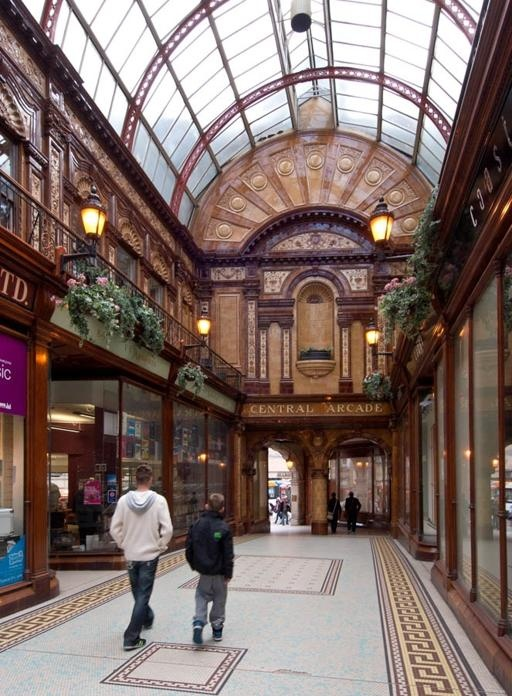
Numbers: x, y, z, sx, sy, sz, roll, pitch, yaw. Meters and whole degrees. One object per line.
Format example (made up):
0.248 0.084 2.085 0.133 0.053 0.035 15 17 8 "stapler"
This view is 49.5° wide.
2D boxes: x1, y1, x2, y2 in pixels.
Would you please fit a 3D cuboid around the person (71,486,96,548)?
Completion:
-3.204 3.137 10.371 0.489 1.080 0.172 3 -13 -11 "person"

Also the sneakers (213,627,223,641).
-0.347 2.553 4.973 0.057 0.076 0.164 0 -6 3 "sneakers"

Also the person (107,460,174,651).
-1.010 1.787 4.809 0.506 1.492 0.404 4 -13 -15 "person"

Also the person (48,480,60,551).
-3.738 3.103 10.269 0.215 1.160 0.324 4 -13 -16 "person"

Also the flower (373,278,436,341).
2.245 -0.602 7.869 0.806 1.152 0.961 -3 3 -7 "flower"

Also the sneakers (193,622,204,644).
-0.491 2.385 4.688 0.074 0.233 0.097 2 15 -1 "sneakers"

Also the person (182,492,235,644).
-0.430 1.958 4.919 0.392 1.262 0.499 2 -13 -8 "person"

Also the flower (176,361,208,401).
-1.723 0.803 13.766 0.800 0.821 0.748 -3 -11 22 "flower"

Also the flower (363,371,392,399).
4.268 1.337 19.549 0.911 0.972 0.920 -2 -2 -3 "flower"

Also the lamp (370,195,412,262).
1.539 -1.495 6.670 0.368 0.931 0.337 5 -15 1 "lamp"

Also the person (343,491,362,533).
3.807 6.494 22.005 0.500 1.470 2.097 -2 -13 9 "person"
